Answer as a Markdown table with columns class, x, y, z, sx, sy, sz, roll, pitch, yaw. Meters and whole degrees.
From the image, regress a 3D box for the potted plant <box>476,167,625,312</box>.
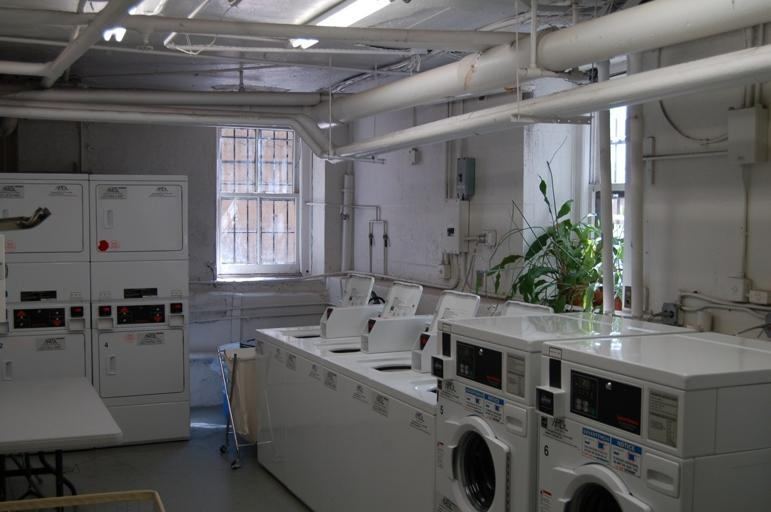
| class | x | y | z | sx | sy | sz | roll | pitch | yaw |
| --- | --- | --- | --- | --- | --- | --- | --- | --- | --- |
| potted plant | 1.533 | -0.016 | 5.506 | 0.994 | 0.936 | 1.025 | -3 | -3 | 11 |
